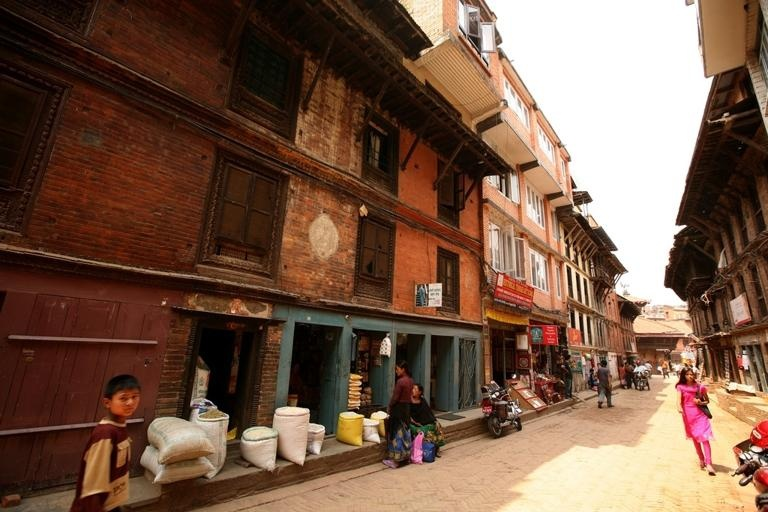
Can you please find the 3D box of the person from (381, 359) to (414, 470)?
[{"bbox_3d":[0.357,4.048,11.097,0.835,2.506,0.577,-11,-20,22],"label":"person"}]

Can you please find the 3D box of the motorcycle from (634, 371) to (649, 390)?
[{"bbox_3d":[16.661,8.184,27.945,0.833,0.931,1.561,-17,-33,30],"label":"motorcycle"}]

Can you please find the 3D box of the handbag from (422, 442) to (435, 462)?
[{"bbox_3d":[1.120,5.154,11.441,0.437,0.418,0.410,-3,-12,-6],"label":"handbag"}]

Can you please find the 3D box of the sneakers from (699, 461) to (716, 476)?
[{"bbox_3d":[7.853,5.174,10.473,0.274,0.226,0.520,-10,-19,19],"label":"sneakers"}]

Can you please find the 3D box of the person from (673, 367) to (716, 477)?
[{"bbox_3d":[7.911,4.115,10.944,0.660,2.511,1.141,-14,-21,30],"label":"person"}]

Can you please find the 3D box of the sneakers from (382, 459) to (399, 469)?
[{"bbox_3d":[0.147,5.186,10.853,0.405,0.174,0.152,8,-5,30],"label":"sneakers"}]

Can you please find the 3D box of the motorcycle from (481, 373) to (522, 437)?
[{"bbox_3d":[3.751,4.989,14.143,0.541,1.678,1.599,-19,-24,39],"label":"motorcycle"}]
